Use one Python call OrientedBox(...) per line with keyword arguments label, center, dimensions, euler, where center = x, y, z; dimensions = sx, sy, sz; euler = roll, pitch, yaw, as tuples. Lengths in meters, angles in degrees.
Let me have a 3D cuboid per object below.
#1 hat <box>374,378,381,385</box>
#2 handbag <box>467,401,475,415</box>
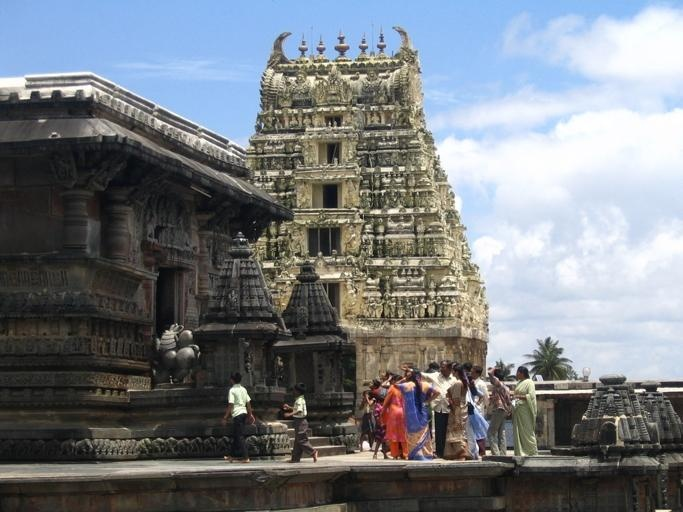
OrientedBox(label="hat", center=(0.784, 2.943, 43.662), dimensions=(0.143, 0.079, 0.143), euler=(7, -21, 4))
OrientedBox(label="handbag", center=(2.704, 3.220, 39.713), dimensions=(0.227, 0.204, 0.374), euler=(6, -21, 1))
